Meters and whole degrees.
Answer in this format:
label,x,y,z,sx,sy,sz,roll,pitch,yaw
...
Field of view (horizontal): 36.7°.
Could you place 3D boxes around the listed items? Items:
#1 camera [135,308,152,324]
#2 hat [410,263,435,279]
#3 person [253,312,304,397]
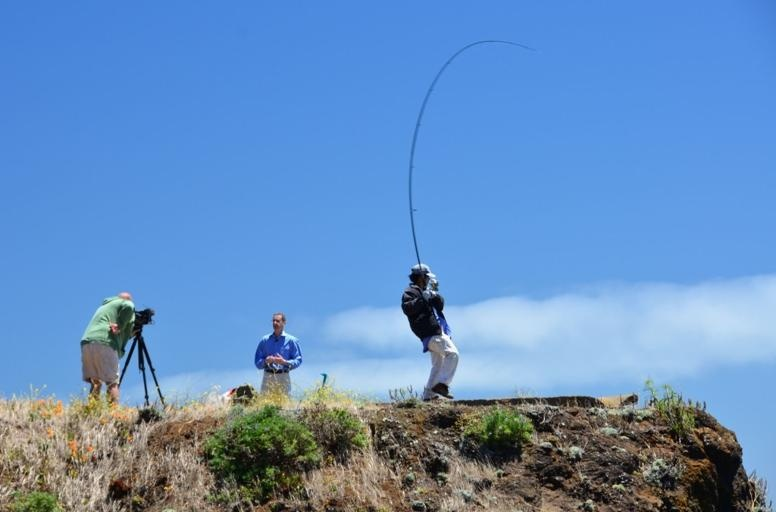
label,x,y,z,sx,sy,sz,roll,pitch,yaw
camera,-5.096,1.256,24.465,0.350,0.323,0.190,2,-15,-23
hat,0.774,0.363,24.295,0.567,0.325,0.441,-4,-5,3
person,-2.420,2.225,25.769,0.945,1.940,0.555,-2,-14,-5
